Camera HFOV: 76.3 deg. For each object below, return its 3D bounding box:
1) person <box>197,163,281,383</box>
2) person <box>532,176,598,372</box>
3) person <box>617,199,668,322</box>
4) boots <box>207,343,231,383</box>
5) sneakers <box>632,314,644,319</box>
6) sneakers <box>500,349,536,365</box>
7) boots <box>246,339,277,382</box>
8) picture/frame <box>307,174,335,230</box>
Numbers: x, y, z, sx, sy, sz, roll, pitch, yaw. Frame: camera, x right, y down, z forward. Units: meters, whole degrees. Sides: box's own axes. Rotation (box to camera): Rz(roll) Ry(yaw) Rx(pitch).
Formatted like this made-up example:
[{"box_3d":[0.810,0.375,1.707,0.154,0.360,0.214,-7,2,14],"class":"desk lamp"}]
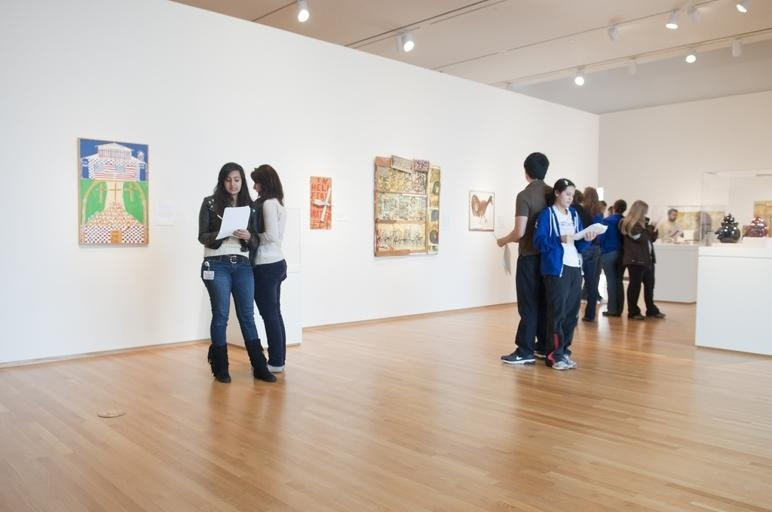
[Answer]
[{"box_3d":[-1.607,0.168,5.192,0.667,2.270,0.488,-1,5,-17],"class":"person"},{"box_3d":[1.978,0.212,5.542,0.557,2.139,0.375,-1,5,-17],"class":"person"},{"box_3d":[4.580,0.058,8.749,1.060,2.044,0.607,-4,6,-41],"class":"person"},{"box_3d":[-1.745,1.119,5.206,0.189,0.359,0.337,-2,6,-29],"class":"boots"},{"box_3d":[4.338,1.047,8.488,0.170,0.077,0.069,-6,1,27],"class":"sneakers"},{"box_3d":[1.564,1.203,5.891,0.423,0.201,0.158,3,-7,14],"class":"sneakers"},{"box_3d":[-1.364,1.060,5.358,0.166,0.391,0.385,8,36,-15],"class":"boots"},{"box_3d":[-0.996,-0.816,7.641,0.091,0.825,0.393,5,7,44],"class":"picture/frame"}]
